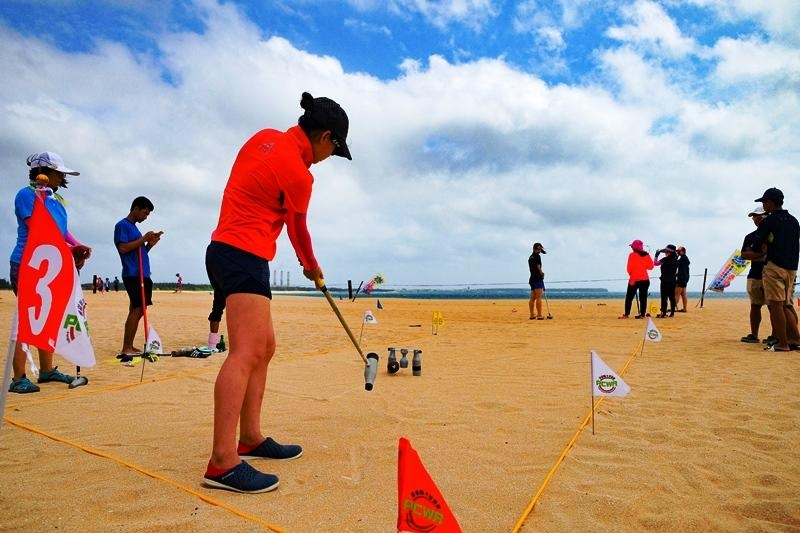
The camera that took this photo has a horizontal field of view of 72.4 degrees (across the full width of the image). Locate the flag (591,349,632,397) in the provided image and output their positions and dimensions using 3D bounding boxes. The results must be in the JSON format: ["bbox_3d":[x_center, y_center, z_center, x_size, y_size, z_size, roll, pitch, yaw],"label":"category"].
[{"bbox_3d":[2.217,1.173,5.881,0.377,0.537,0.493,2,6,10],"label":"flag"}]

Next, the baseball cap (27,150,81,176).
[{"bbox_3d":[-4.126,-1.209,6.403,0.376,0.227,0.473,-3,7,-33],"label":"baseball cap"}]

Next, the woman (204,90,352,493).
[{"bbox_3d":[-1.103,0.178,4.572,1.078,3.291,0.810,0,6,-11],"label":"woman"}]

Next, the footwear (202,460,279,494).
[{"bbox_3d":[-1.314,1.712,4.551,0.560,0.222,0.252,5,-9,-2],"label":"footwear"}]

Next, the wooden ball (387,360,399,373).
[{"bbox_3d":[-0.100,1.456,8.008,0.173,0.193,0.212,1,6,-3],"label":"wooden ball"}]

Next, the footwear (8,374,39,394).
[{"bbox_3d":[-4.428,1.408,6.451,0.366,0.155,0.159,0,-9,11],"label":"footwear"}]

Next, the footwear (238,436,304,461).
[{"bbox_3d":[-1.166,1.666,5.023,0.589,0.212,0.215,3,-9,-7],"label":"footwear"}]

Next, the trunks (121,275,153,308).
[{"bbox_3d":[-4.040,0.384,8.396,0.381,0.501,0.423,-2,7,-27],"label":"trunks"}]

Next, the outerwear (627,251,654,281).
[{"bbox_3d":[6.064,-0.027,13.854,0.732,0.846,0.563,3,7,20],"label":"outerwear"}]

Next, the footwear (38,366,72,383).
[{"bbox_3d":[-4.391,1.358,6.961,0.417,0.206,0.198,3,-1,-24],"label":"footwear"}]

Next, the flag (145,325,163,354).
[{"bbox_3d":[-3.571,1.078,7.880,0.183,0.465,0.578,-1,7,-23],"label":"flag"}]

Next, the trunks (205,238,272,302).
[{"bbox_3d":[-1.300,0.010,4.455,0.327,0.408,0.466,-8,11,-43],"label":"trunks"}]

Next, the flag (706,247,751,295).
[{"bbox_3d":[12.070,0.063,19.739,0.599,2.470,0.173,37,-19,27],"label":"flag"}]

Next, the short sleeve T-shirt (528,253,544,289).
[{"bbox_3d":[3.889,0.165,15.653,0.321,1.112,0.633,3,7,18],"label":"short sleeve T-shirt"}]

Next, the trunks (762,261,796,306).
[{"bbox_3d":[6.133,0.251,8.833,0.529,0.667,0.358,17,-14,-11],"label":"trunks"}]
